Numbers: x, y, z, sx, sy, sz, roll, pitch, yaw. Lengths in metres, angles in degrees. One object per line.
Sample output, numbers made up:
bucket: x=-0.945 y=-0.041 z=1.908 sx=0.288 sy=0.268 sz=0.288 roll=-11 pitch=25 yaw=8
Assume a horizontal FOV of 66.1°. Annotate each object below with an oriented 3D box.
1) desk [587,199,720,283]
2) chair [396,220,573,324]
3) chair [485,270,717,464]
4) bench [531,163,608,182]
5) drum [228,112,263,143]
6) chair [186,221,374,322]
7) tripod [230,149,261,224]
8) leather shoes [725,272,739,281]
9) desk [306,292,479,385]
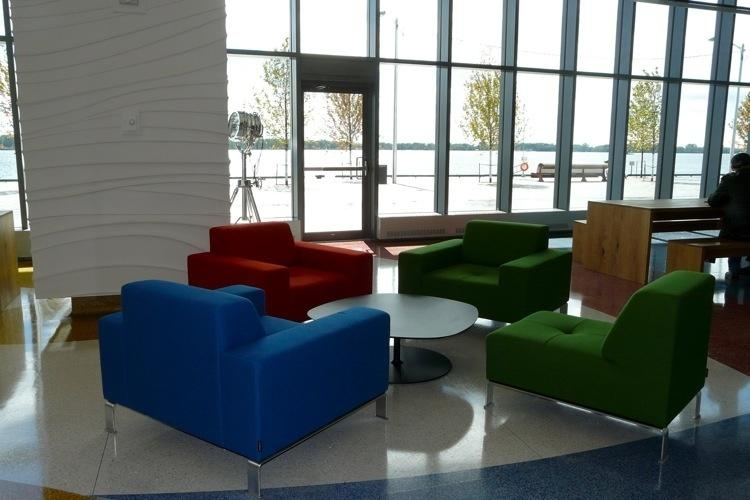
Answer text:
desk: x=4.021 y=-0.171 z=8.126 sx=1.895 sy=0.964 sz=1.728 roll=-3 pitch=8 yaw=-19
chair: x=1.194 y=0.242 z=6.162 sx=1.420 sy=0.880 sz=1.055 roll=8 pitch=16 yaw=38
chair: x=1.780 y=0.742 z=4.663 sx=1.463 sy=1.085 sz=1.055 roll=6 pitch=12 yaw=39
bench: x=3.727 y=-1.474 z=11.009 sx=1.578 sy=0.374 sz=0.215 roll=-4 pitch=11 yaw=-22
drum: x=-1.704 y=-1.730 z=8.329 sx=0.416 sy=0.446 sz=0.471 roll=17 pitch=10 yaw=41
chair: x=-0.929 y=0.232 z=6.090 sx=1.506 sy=0.812 sz=1.604 roll=10 pitch=13 yaw=32
tripod: x=-1.832 y=-0.921 z=8.617 sx=0.389 sy=1.092 sz=0.918 roll=-2 pitch=11 yaw=-11
leather shoes: x=4.685 y=0.362 z=7.686 sx=0.096 sy=0.108 sz=0.289 roll=4 pitch=16 yaw=32
desk: x=0.206 y=0.861 z=4.959 sx=1.054 sy=0.462 sz=1.320 roll=-16 pitch=16 yaw=-41
